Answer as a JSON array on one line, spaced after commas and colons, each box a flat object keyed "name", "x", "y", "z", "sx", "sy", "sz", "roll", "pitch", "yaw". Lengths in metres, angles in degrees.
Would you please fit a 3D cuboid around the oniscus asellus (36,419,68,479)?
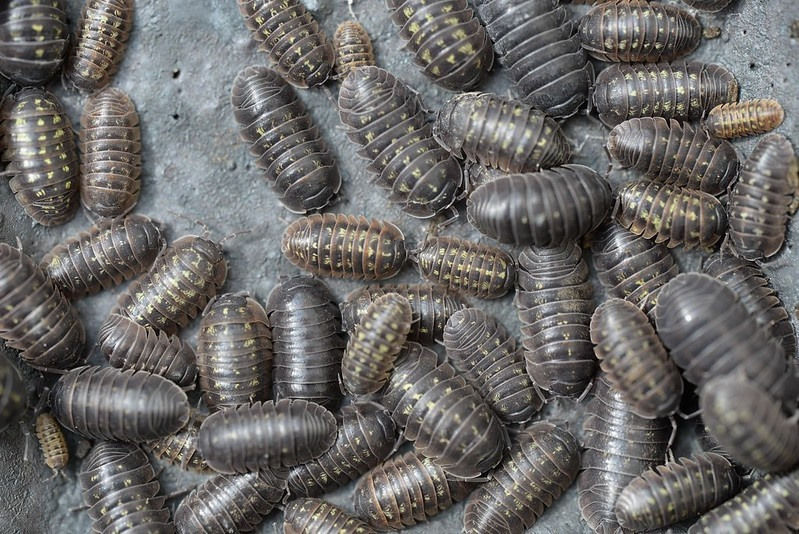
[{"name": "oniscus asellus", "x": -2.473, "y": 1.287, "z": 6.439, "sx": 0.154, "sy": 0.160, "sz": 0.497, "roll": -5, "pitch": 59, "yaw": -32}]
